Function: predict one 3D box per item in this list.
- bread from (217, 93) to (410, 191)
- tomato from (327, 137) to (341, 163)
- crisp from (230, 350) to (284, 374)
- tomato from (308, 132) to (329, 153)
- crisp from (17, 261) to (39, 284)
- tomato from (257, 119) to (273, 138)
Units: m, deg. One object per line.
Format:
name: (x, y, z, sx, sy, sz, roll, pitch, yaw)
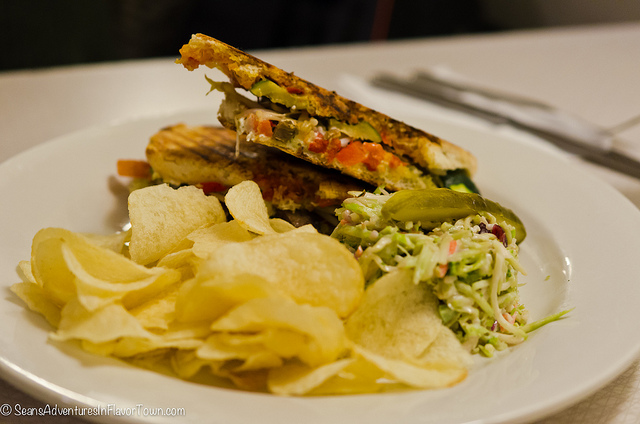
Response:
bread: (-0.082, -0.319, 3.168, 0.851, 0.503, 0.125, 22, 100, 1)
tomato: (0.071, -0.315, 3.138, 0.026, 0.109, 0.064, 18, 12, -21)
crisp: (-0.249, 0.641, 2.631, 0.178, 0.106, 0.042, -10, 60, -11)
tomato: (-0.001, -0.346, 3.117, 0.075, 0.100, 0.035, 11, 15, -24)
crisp: (-1.319, 0.265, 2.772, 0.024, 0.092, 0.100, -40, 61, 20)
tomato: (-0.275, -0.416, 3.087, 0.070, 0.042, 0.084, -11, 65, -14)
